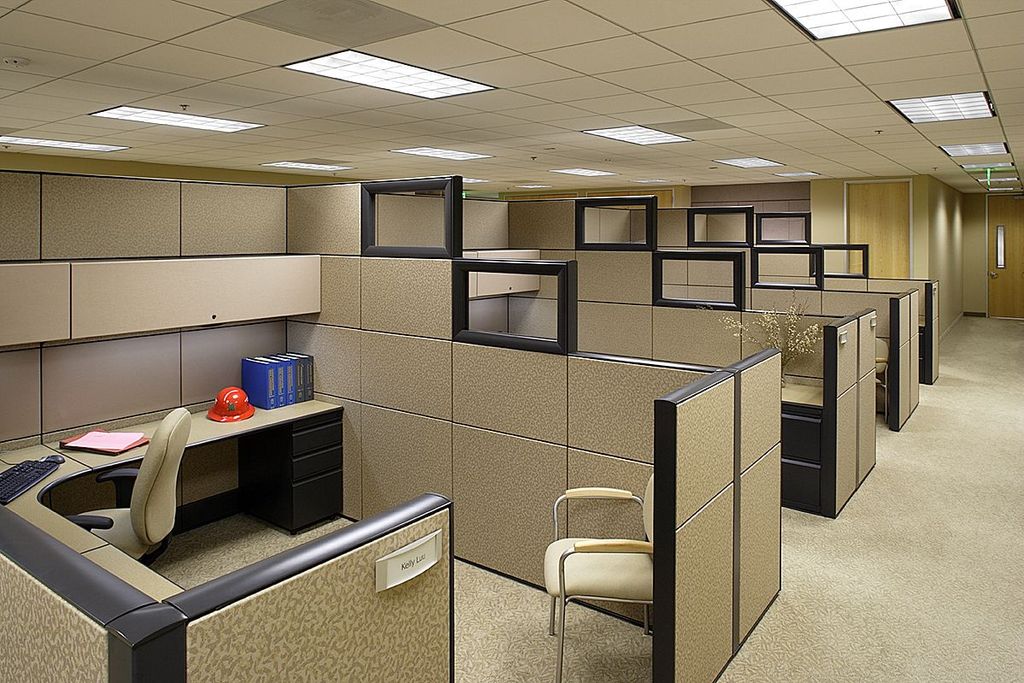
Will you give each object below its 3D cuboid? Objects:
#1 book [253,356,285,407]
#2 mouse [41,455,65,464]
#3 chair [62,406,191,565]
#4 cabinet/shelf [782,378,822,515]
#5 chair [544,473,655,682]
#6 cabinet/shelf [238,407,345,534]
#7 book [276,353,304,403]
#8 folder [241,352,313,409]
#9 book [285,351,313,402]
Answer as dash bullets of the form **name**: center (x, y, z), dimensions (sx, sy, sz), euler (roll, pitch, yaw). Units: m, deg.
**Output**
- **book**: center (-1.747, 0.302, 4.670), dimensions (0.194, 0.314, 0.192), euler (2, 14, 9)
- **mouse**: center (-2.647, 0.671, 3.752), dimensions (0.142, 0.048, 0.048), euler (-1, 8, -6)
- **chair**: center (-1.996, 0.779, 3.442), dimensions (0.532, 0.807, 0.388), euler (0, 14, 2)
- **cabinet/shelf**: center (2.191, 0.862, 4.914), dimensions (0.374, 0.811, 0.162), euler (9, 17, 33)
- **chair**: center (0.457, 1.202, 3.407), dimensions (0.571, 0.938, 0.732), euler (2, 14, 8)
- **cabinet/shelf**: center (-1.667, 0.912, 4.818), dimensions (0.690, 0.771, 0.528), euler (3, 6, 24)
- **book**: center (-1.685, 0.280, 4.809), dimensions (0.267, 0.302, 0.292), euler (-1, 5, -5)
- **folder**: center (-1.702, 0.235, 4.863), dimensions (0.374, 0.446, 0.523), euler (6, 8, 37)
- **book**: center (-1.664, 0.273, 4.844), dimensions (0.302, 0.332, 0.328), euler (-3, 2, -19)
